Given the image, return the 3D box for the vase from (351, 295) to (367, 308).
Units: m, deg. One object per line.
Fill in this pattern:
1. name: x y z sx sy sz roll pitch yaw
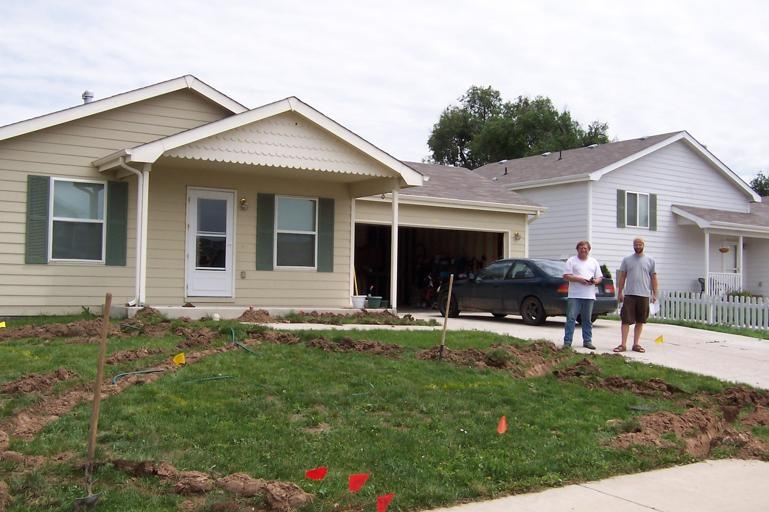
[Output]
1. vase: -0.652 1.187 17.775 0.334 0.240 0.326 2 -3 -7

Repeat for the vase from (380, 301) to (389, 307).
1. vase: 0.026 1.328 18.846 0.194 0.174 0.190 3 -2 -41

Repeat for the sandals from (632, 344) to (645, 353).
1. sandals: 4.949 1.776 13.342 0.232 0.141 0.320 8 13 20

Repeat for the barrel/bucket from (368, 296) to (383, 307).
1. barrel/bucket: -0.267 1.190 17.827 0.328 0.225 0.321 1 -9 0

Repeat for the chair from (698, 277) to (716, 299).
1. chair: 12.060 1.172 25.565 0.628 0.801 0.604 2 -9 -15

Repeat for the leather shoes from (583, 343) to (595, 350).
1. leather shoes: 3.963 1.750 13.302 0.094 0.092 0.250 0 -3 -31

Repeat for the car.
1. car: 3.380 0.894 17.836 1.944 1.332 4.154 1 1 -37

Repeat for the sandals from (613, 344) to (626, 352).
1. sandals: 4.478 1.761 13.053 0.122 0.136 0.355 -7 -11 39

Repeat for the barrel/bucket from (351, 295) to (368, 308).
1. barrel/bucket: -0.646 1.174 17.785 0.331 0.236 0.323 1 -3 0

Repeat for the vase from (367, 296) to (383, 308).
1. vase: -0.271 1.192 17.826 0.327 0.224 0.322 1 -10 -1
